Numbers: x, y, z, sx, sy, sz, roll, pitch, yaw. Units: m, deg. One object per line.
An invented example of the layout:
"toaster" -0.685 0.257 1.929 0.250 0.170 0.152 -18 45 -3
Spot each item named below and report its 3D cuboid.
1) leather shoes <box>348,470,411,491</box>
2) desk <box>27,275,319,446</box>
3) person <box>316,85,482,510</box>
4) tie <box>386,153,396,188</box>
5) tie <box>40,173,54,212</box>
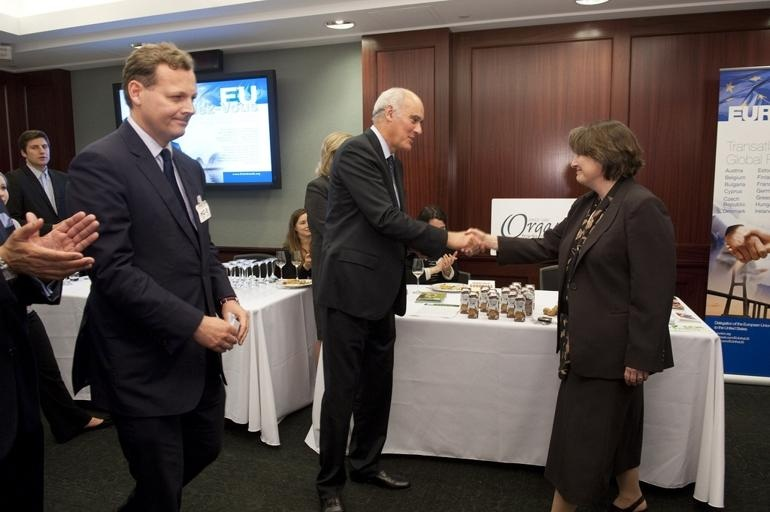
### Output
"leather shoes" -0.028 1.345 3.399 0.350 0.153 0.137 2 5 3
"desk" -1.010 0.725 3.861 1.308 0.584 1.381 2 6 16
"person" -0.088 0.234 3.214 0.829 2.360 0.417 -7 12 -28
"tie" 0.043 -0.499 3.240 0.042 0.160 0.110 -2 14 2
"tie" -3.189 -0.602 5.075 0.063 0.286 0.193 -12 -9 20
